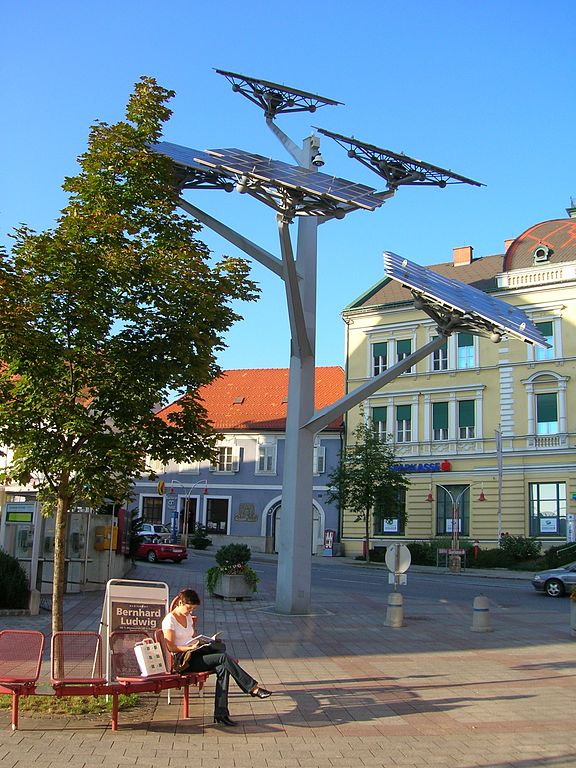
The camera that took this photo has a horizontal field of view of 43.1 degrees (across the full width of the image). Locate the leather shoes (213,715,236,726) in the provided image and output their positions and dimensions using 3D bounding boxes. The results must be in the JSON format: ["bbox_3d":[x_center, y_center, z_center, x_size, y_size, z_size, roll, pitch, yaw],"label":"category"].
[{"bbox_3d":[-0.533,2.838,6.124,0.220,0.081,0.071,-2,-11,14],"label":"leather shoes"}]
